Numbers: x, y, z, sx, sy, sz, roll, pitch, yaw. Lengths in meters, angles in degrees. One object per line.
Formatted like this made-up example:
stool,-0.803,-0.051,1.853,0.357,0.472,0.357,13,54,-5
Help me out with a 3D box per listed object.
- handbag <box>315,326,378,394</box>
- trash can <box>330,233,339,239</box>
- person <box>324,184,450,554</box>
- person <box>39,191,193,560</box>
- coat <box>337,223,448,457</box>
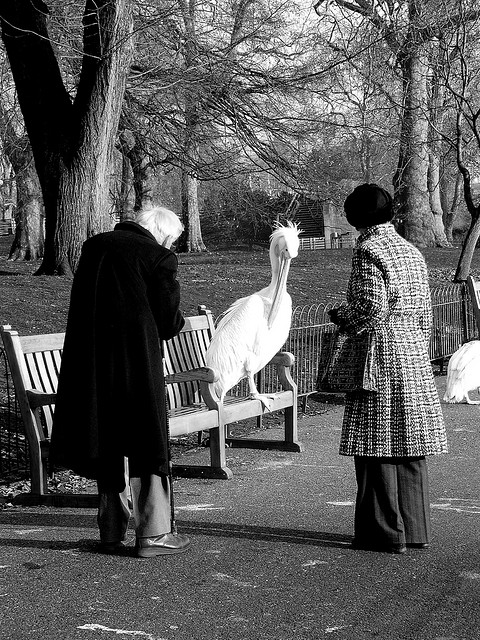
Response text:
handbag,0.545,0.192,4.332,0.348,0.341,0.127,-2,-13,36
trash can,4.449,-3.952,40.423,0.283,0.216,0.284,0,-4,-12
person,0.736,0.249,4.288,0.588,1.836,0.362,0,4,5
person,-0.599,0.322,4.261,0.684,1.756,0.396,0,4,-3
coat,0.756,0.161,4.352,0.512,1.270,0.487,0,3,-20
